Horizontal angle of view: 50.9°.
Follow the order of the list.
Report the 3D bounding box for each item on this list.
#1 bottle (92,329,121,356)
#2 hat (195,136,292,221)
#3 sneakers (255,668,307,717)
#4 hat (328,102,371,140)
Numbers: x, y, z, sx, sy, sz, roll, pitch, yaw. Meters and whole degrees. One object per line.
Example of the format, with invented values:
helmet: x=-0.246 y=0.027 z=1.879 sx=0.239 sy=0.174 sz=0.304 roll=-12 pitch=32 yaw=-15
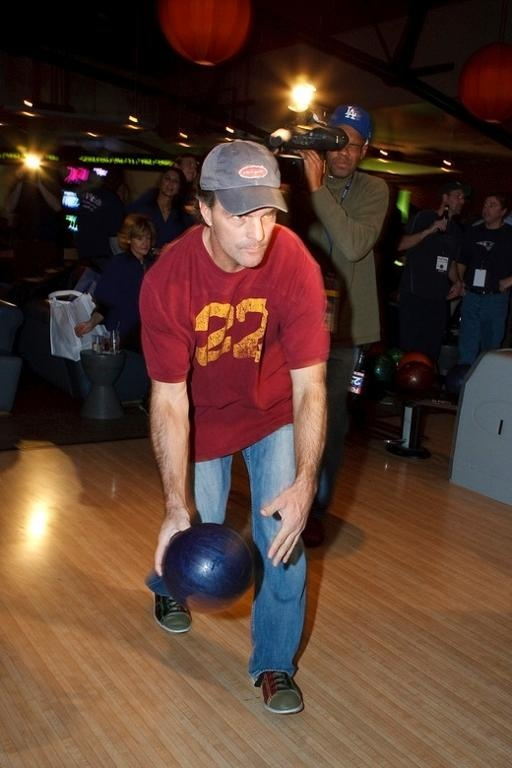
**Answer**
bottle: x=-1.234 y=-0.336 z=4.463 sx=0.291 sy=0.211 sz=0.162 roll=-1 pitch=2 yaw=-9
hat: x=-0.028 y=-0.351 z=0.920 sx=0.119 sy=0.093 sz=0.180 roll=-7 pitch=34 yaw=-22
sneakers: x=0.068 y=0.737 z=1.288 sx=0.063 sy=0.058 sz=0.147 roll=0 pitch=-12 yaw=-13
hat: x=0.372 y=-0.999 z=2.088 sx=0.119 sy=0.093 sz=0.170 roll=21 pitch=21 yaw=3
